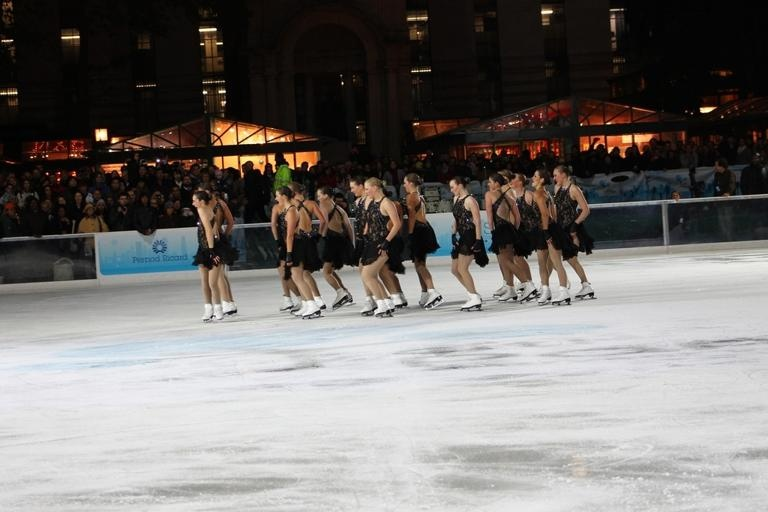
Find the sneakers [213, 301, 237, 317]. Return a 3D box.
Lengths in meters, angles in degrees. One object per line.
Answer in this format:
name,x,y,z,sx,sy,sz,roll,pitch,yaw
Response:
sneakers,-2.817,0.898,16.644,0.258,0.187,0.316,2,2,18

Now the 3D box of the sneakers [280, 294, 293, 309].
sneakers,-1.758,0.852,17.098,0.236,0.171,0.270,-5,3,-5

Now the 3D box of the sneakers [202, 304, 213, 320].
sneakers,-3.077,0.976,16.524,0.178,0.215,0.231,-5,3,-10

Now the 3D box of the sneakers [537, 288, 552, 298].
sneakers,2.745,0.636,16.274,0.181,0.214,0.256,-4,3,9

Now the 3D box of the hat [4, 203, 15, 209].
hat,-9.215,-1.201,23.392,0.205,0.054,0.221,-4,11,-15

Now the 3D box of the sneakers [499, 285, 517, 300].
sneakers,2.194,0.676,16.870,0.325,0.260,0.167,-4,3,5

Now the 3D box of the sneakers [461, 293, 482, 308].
sneakers,1.443,0.760,15.916,0.335,0.261,0.249,-4,3,1

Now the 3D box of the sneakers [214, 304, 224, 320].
sneakers,-2.876,0.966,16.552,0.151,0.199,0.256,-5,3,-10
